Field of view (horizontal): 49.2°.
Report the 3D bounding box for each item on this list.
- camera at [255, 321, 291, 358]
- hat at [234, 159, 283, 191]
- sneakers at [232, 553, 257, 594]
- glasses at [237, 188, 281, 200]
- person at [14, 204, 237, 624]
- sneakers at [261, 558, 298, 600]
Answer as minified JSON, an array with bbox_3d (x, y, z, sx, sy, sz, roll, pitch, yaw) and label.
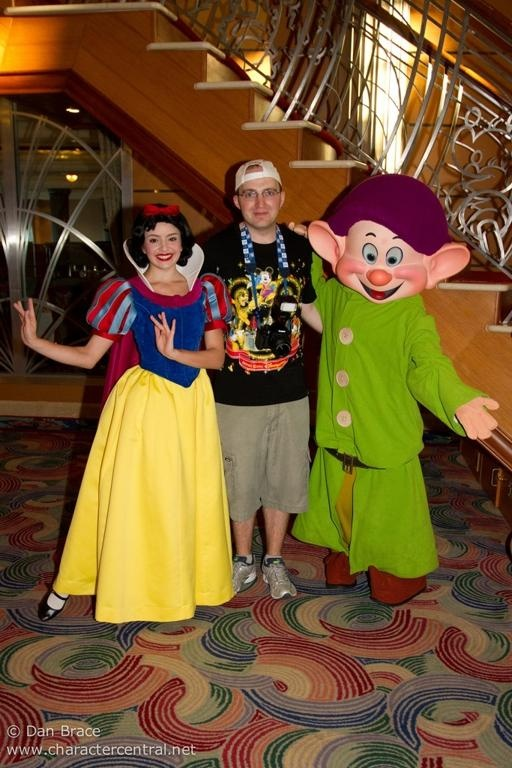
[{"bbox_3d":[0.059,-0.150,1.833,0.089,0.058,0.117,-20,46,3],"label":"camera"},{"bbox_3d":[0.004,-0.668,1.781,0.094,0.063,0.128,-7,19,5],"label":"hat"},{"bbox_3d":[-0.034,0.691,2.044,0.060,0.068,0.159,0,0,9],"label":"sneakers"},{"bbox_3d":[0.009,-0.594,1.742,0.120,0.038,0.036,1,5,-4],"label":"glasses"},{"bbox_3d":[-0.354,0.131,1.671,0.599,1.329,0.370,1,5,-4],"label":"person"},{"bbox_3d":[0.074,0.707,2.044,0.080,0.088,0.189,-3,15,-15],"label":"sneakers"}]
